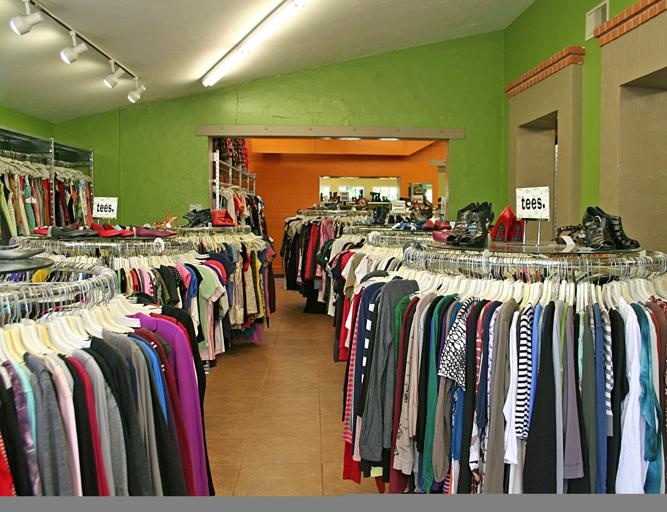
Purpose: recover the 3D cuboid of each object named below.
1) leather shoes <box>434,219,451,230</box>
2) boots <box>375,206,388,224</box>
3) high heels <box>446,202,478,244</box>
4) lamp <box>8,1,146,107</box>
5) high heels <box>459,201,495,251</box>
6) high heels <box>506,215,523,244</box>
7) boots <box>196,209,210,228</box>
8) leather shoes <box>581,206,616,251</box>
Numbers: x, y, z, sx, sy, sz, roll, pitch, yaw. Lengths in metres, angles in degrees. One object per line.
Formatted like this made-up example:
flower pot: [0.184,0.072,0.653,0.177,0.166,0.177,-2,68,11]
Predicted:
leather shoes: [0.976,-0.283,4.766,0.163,0.065,0.203,0,3,15]
boots: [0.537,-0.446,5.945,0.133,0.087,0.238,0,25,3]
high heels: [0.771,-0.189,3.068,0.137,0.177,0.437,-8,13,27]
lamp: [-2.352,-1.915,5.195,0.260,0.433,1.576,9,-30,50]
high heels: [0.824,-0.178,3.049,0.153,0.160,0.467,-11,14,19]
high heels: [1.212,-0.169,3.523,0.072,0.234,0.085,5,-29,10]
boots: [-1.366,-0.409,5.631,0.111,0.073,0.202,-4,34,-1]
leather shoes: [1.334,-0.139,2.744,0.108,0.151,0.360,-1,14,6]
